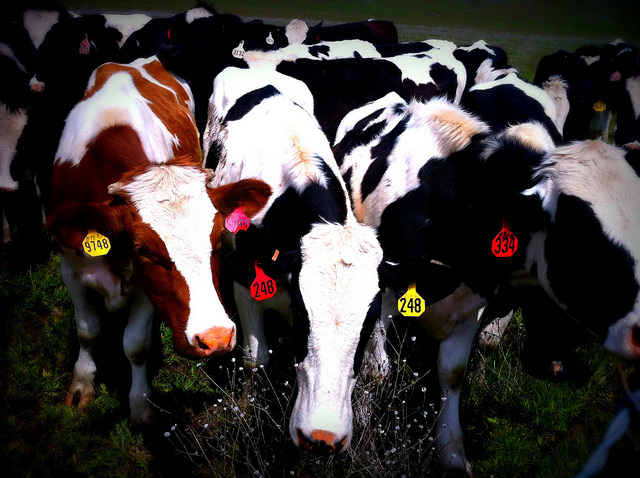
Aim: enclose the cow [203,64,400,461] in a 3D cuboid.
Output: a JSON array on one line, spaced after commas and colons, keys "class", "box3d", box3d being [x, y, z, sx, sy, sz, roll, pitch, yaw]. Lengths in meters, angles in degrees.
[{"class": "cow", "box3d": [-0.158, -0.266, 6.679, 1.326, 2.333, 4.572, 0, 37, -11]}]
